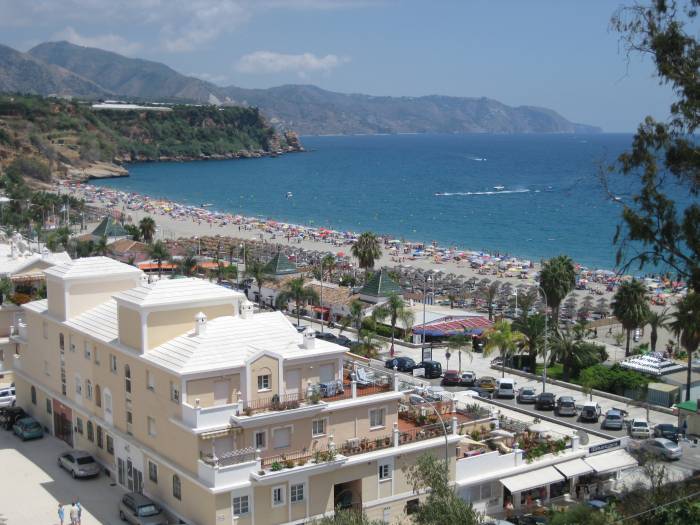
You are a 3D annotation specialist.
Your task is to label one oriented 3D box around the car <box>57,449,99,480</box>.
[{"bbox_3d":[-18.957,14.203,58.001,2.988,1.587,1.308,11,6,34],"label":"car"}]
